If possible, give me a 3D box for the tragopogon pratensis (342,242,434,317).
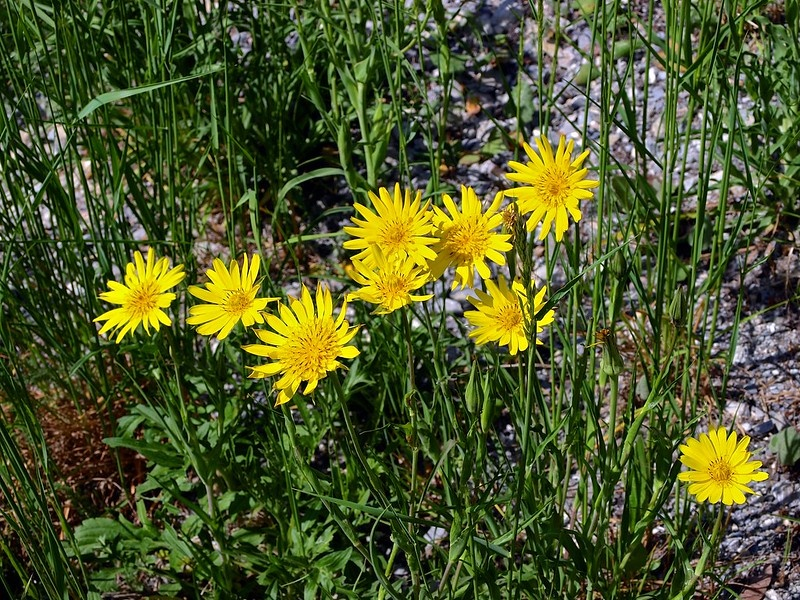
[{"bbox_3d":[-0.016,-0.055,1.659,0.157,0.191,0.080,1,72,10],"label":"tragopogon pratensis"}]

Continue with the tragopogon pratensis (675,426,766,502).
[{"bbox_3d":[0.731,0.380,1.762,0.159,0.073,0.185,-12,-1,-6],"label":"tragopogon pratensis"}]

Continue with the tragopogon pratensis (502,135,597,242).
[{"bbox_3d":[0.353,-0.254,1.734,0.216,0.237,0.071,-15,52,45],"label":"tragopogon pratensis"}]

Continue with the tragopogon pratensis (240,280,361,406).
[{"bbox_3d":[-0.183,0.096,1.581,0.222,0.120,0.249,-7,23,-22],"label":"tragopogon pratensis"}]

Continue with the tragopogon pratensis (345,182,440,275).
[{"bbox_3d":[-0.009,-0.166,1.691,0.172,0.206,0.084,8,65,-10],"label":"tragopogon pratensis"}]

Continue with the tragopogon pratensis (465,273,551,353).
[{"bbox_3d":[0.257,0.030,1.696,0.228,0.091,0.240,-18,17,-23],"label":"tragopogon pratensis"}]

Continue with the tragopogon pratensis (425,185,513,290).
[{"bbox_3d":[0.168,-0.153,1.693,0.224,0.258,0.131,9,81,17],"label":"tragopogon pratensis"}]

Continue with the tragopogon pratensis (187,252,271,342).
[{"bbox_3d":[-0.373,0.000,1.708,0.169,0.069,0.217,5,80,34],"label":"tragopogon pratensis"}]
